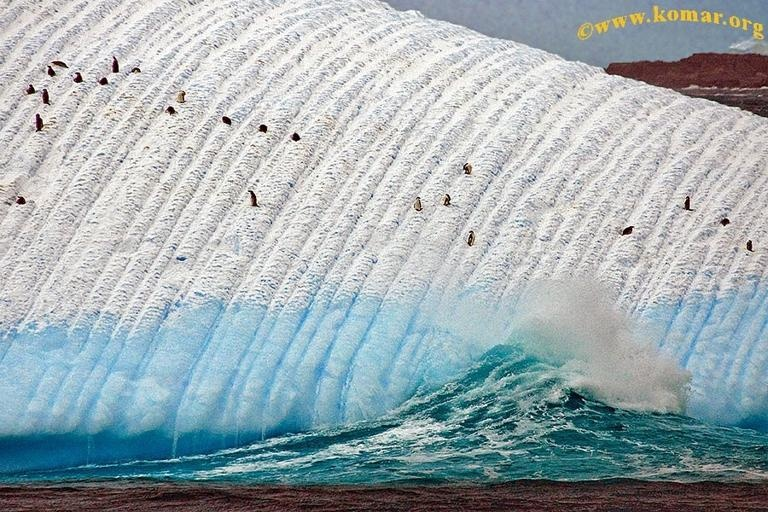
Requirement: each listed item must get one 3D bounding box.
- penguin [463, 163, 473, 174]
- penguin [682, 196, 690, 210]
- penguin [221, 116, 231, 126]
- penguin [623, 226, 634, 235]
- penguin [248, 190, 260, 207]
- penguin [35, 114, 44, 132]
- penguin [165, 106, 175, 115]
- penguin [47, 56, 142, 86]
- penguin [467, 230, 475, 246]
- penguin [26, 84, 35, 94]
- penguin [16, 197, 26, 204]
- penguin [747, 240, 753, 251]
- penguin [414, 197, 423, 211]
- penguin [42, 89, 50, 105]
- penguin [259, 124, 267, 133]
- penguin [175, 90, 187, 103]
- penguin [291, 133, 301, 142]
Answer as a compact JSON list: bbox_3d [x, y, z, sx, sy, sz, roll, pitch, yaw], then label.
[{"bbox_3d":[3.081,-3.183,59.139,0.349,0.410,0.387,4,8,1],"label":"penguin"},{"bbox_3d":[11.076,-1.905,58.744,0.288,0.509,0.300,6,9,7],"label":"penguin"},{"bbox_3d":[-5.831,-4.993,59.613,0.376,0.324,0.196,3,9,-3],"label":"penguin"},{"bbox_3d":[8.835,-0.902,58.106,0.169,0.353,0.286,19,-19,47],"label":"penguin"},{"bbox_3d":[-4.708,-2.067,58.000,0.369,0.539,0.509,3,8,-11],"label":"penguin"},{"bbox_3d":[-12.617,-4.848,58.875,0.397,0.531,0.255,-4,-5,43],"label":"penguin"},{"bbox_3d":[-7.925,-5.360,59.668,0.378,0.327,0.210,1,9,-19],"label":"penguin"},{"bbox_3d":[-10.992,-6.887,60.326,3.843,0.438,1.212,-2,32,-16],"label":"penguin"},{"bbox_3d":[3.097,-0.610,57.737,0.251,0.425,0.395,15,-2,-1],"label":"penguin"},{"bbox_3d":[-13.111,-6.144,59.646,0.327,0.359,0.307,2,9,-13],"label":"penguin"},{"bbox_3d":[-12.975,-1.968,57.369,0.349,0.262,0.117,-5,-13,-16],"label":"penguin"},{"bbox_3d":[13.155,-0.374,57.918,0.236,0.384,0.268,5,9,5],"label":"penguin"},{"bbox_3d":[1.224,-1.857,58.237,0.344,0.495,0.554,4,8,0],"label":"penguin"},{"bbox_3d":[-12.521,-5.869,59.501,0.271,0.545,0.350,2,9,-16],"label":"penguin"},{"bbox_3d":[-4.455,-4.680,59.514,0.326,0.277,0.169,2,9,-14],"label":"penguin"},{"bbox_3d":[-7.596,-5.919,59.959,0.427,0.406,0.206,-2,-4,7],"label":"penguin"},{"bbox_3d":[-3.262,-4.359,59.471,0.366,0.308,0.232,3,9,-6],"label":"penguin"}]
